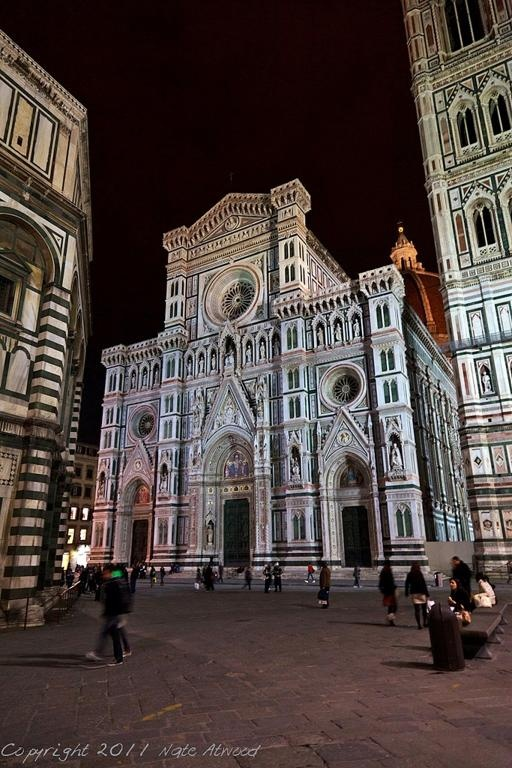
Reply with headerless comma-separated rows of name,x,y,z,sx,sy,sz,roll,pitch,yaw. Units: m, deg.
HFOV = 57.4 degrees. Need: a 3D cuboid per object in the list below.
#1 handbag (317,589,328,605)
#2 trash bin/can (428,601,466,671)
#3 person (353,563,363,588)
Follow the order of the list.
handbag,2.132,6.647,14.677,0.278,0.500,0.514,-4,-16,7
trash bin/can,2.550,3.406,6.288,0.396,0.826,0.651,-7,-17,17
person,4.967,9.361,22.971,0.268,0.922,1.744,-7,-17,15
